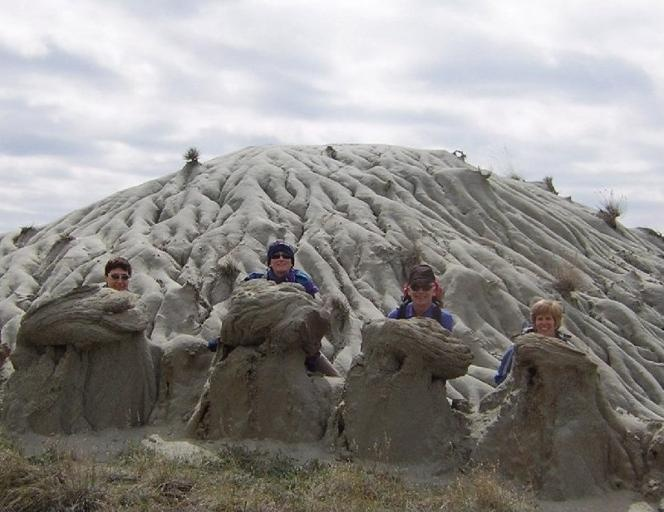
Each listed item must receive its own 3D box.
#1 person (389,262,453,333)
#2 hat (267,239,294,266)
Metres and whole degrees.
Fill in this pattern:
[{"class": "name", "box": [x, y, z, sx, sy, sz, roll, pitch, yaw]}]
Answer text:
[{"class": "person", "box": [1.368, 0.601, 8.755, 0.910, 0.954, 0.701, 2, 11, 5]}, {"class": "hat", "box": [-0.836, -0.062, 9.591, 0.347, 0.372, 0.461, 1, -15, -6]}]
